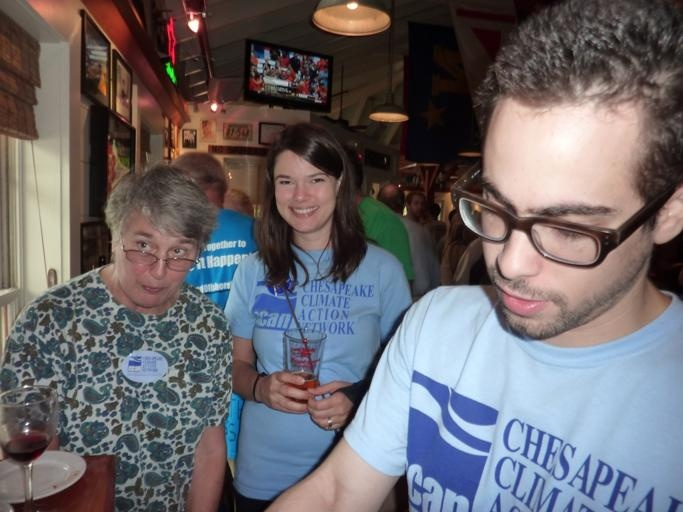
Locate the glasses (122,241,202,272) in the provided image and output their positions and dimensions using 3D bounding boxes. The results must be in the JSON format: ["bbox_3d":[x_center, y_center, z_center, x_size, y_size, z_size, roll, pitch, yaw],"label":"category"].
[{"bbox_3d":[-0.654,0.004,1.922,0.241,0.129,0.089,-10,22,-18],"label":"glasses"}]
